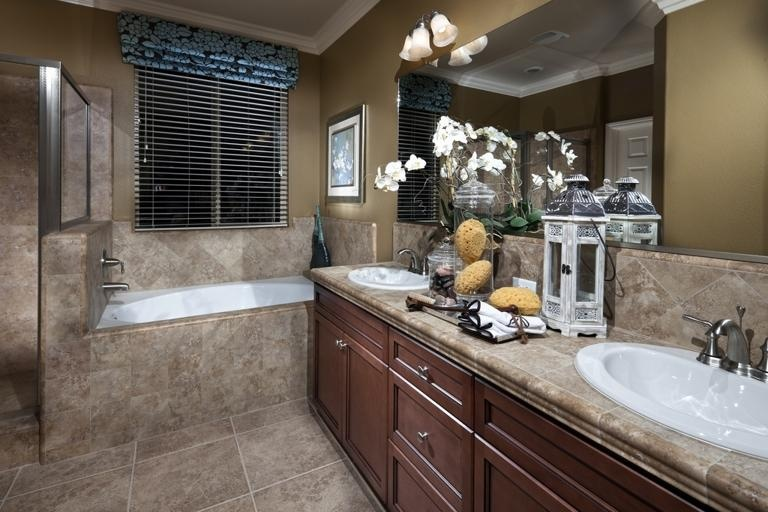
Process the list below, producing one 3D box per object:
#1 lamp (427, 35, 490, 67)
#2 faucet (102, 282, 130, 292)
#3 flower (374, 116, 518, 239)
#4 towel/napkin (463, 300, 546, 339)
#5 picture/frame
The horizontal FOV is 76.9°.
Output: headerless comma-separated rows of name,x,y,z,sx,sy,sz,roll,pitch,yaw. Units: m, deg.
lamp,0.466,-1.258,2.954,0.128,0.097,0.285,12,-15,-35
faucet,-1.961,0.223,3.544,0.175,0.046,0.101,1,3,-9
flower,0.430,-0.494,3.005,0.864,0.572,0.523,5,6,44
towel/napkin,0.536,0.297,2.173,0.210,0.073,0.209,-5,11,-43
picture/frame,-0.335,-0.893,4.254,0.041,1.009,0.964,0,2,-23
